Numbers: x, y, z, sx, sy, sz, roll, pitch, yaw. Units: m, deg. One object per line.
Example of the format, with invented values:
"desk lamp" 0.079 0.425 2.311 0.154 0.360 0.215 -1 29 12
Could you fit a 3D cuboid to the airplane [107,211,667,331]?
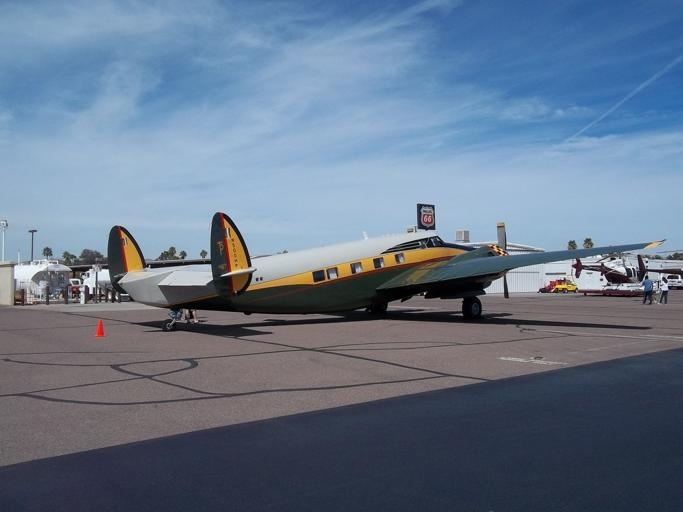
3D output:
"airplane" -0.607 0.688 19.453 15.159 3.658 5.150 -4 1 -16
